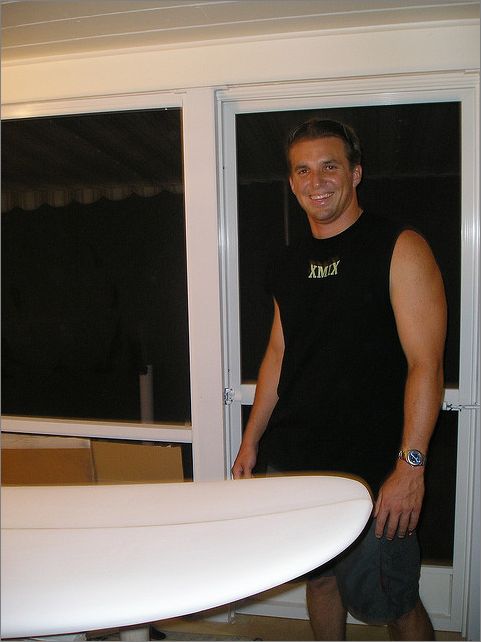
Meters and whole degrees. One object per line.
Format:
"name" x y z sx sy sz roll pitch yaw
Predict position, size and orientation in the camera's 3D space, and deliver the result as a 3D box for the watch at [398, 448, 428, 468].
"watch" 0.475 0.380 1.781 0.067 0.040 0.058 2 6 13
